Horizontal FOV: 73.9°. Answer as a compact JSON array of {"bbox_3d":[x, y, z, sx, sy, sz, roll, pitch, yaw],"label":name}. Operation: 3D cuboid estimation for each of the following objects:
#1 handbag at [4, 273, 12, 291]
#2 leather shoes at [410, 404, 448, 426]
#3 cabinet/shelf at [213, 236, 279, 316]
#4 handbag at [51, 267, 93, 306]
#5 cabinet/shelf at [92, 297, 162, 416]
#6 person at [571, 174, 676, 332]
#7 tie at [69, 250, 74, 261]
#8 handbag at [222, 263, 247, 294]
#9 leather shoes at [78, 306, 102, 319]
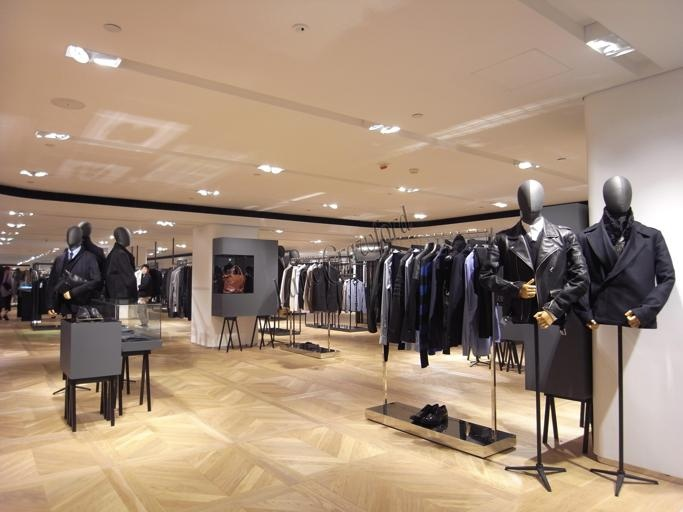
[{"bbox_3d":[-10.542,0.829,14.403,0.257,0.477,0.503,1,-2,-40],"label":"handbag"},{"bbox_3d":[0.986,1.703,4.882,0.316,0.113,0.189,12,-17,-43],"label":"leather shoes"},{"bbox_3d":[-2.086,0.448,10.337,1.366,1.655,0.640,1,5,-7],"label":"cabinet/shelf"},{"bbox_3d":[-3.546,0.411,5.963,0.613,0.488,0.238,-1,-1,22],"label":"handbag"},{"bbox_3d":[-2.570,1.218,5.434,0.462,1.140,1.314,4,-8,-27],"label":"cabinet/shelf"},{"bbox_3d":[2.225,0.083,3.606,0.657,0.983,0.403,-1,-1,34],"label":"person"},{"bbox_3d":[-3.589,-0.014,6.074,0.082,0.116,0.042,-1,-8,4],"label":"tie"},{"bbox_3d":[-2.363,0.514,10.043,0.562,0.697,0.336,4,-13,-28],"label":"handbag"},{"bbox_3d":[-2.839,0.633,5.129,0.153,0.074,0.229,5,-6,-42],"label":"leather shoes"}]
